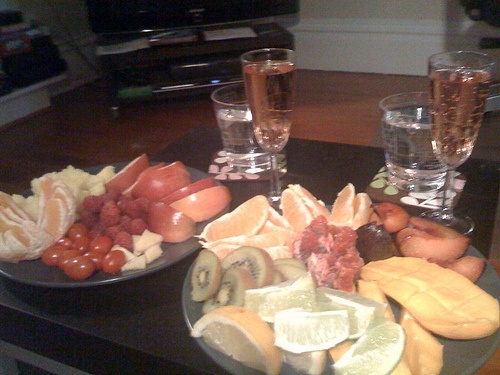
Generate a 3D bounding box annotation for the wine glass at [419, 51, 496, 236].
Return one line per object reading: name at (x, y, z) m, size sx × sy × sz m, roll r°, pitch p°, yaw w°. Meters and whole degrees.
wine glass at (0.216, -0.049, 0.480) m, size 0.079 × 0.212 × 0.070 m, roll 12°, pitch 32°, yaw 24°

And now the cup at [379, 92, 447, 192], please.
cup at (0.195, -0.057, 0.530) m, size 0.086 × 0.134 × 0.065 m, roll -2°, pitch 24°, yaw 7°
